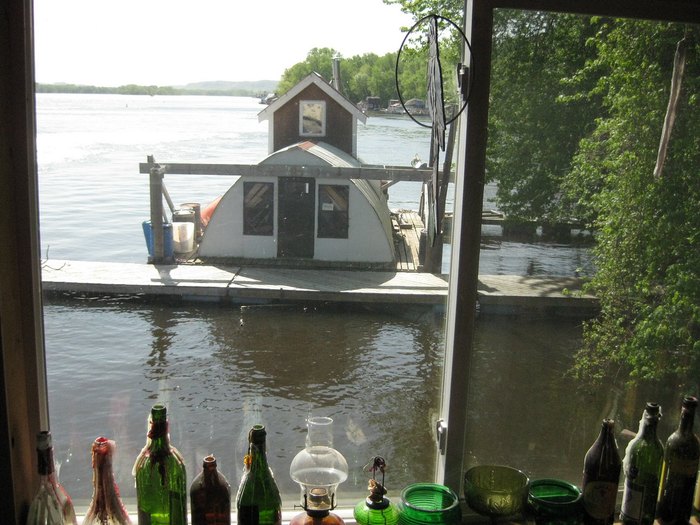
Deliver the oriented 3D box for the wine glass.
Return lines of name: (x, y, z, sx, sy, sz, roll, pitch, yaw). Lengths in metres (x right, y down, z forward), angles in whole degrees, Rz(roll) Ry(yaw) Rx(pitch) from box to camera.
wine glass: (0.551, 0.874, 3.920, 0.224, 0.185, 0.212, 7, 13, 27)
